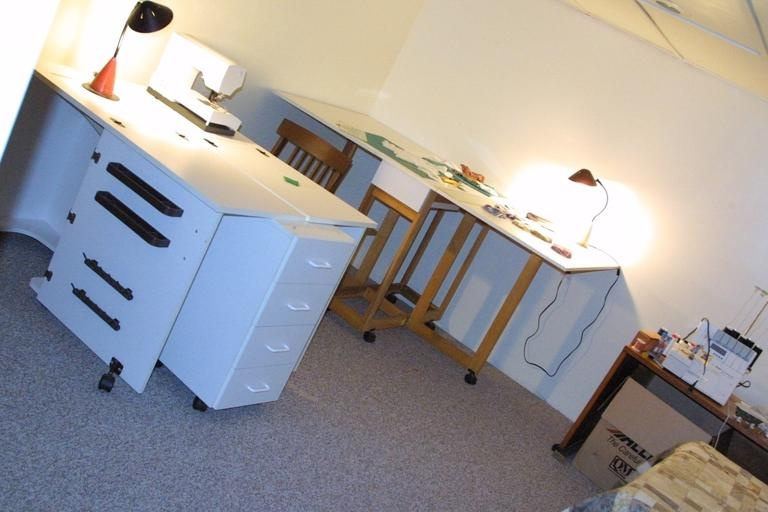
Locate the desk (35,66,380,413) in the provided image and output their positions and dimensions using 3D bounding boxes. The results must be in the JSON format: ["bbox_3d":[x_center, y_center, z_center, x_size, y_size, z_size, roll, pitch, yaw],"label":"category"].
[{"bbox_3d":[-0.867,-0.173,2.927,1.137,0.761,1.329,15,25,-33],"label":"desk"}]

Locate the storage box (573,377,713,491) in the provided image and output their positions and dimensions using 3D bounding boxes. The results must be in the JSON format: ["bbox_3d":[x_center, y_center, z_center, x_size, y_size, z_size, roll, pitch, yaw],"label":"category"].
[{"bbox_3d":[1.579,1.154,3.481,0.656,0.681,0.415,39,-2,8],"label":"storage box"}]

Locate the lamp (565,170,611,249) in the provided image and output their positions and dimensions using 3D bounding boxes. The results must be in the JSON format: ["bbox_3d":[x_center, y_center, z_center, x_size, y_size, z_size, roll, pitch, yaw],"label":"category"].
[{"bbox_3d":[1.575,-0.348,4.082,0.364,0.617,0.246,13,40,13],"label":"lamp"}]

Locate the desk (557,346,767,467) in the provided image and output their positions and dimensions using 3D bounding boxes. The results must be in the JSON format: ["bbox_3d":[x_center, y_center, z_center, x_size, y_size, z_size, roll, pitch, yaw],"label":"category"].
[{"bbox_3d":[1.753,0.936,3.281,0.659,0.465,0.418,41,1,6],"label":"desk"}]
